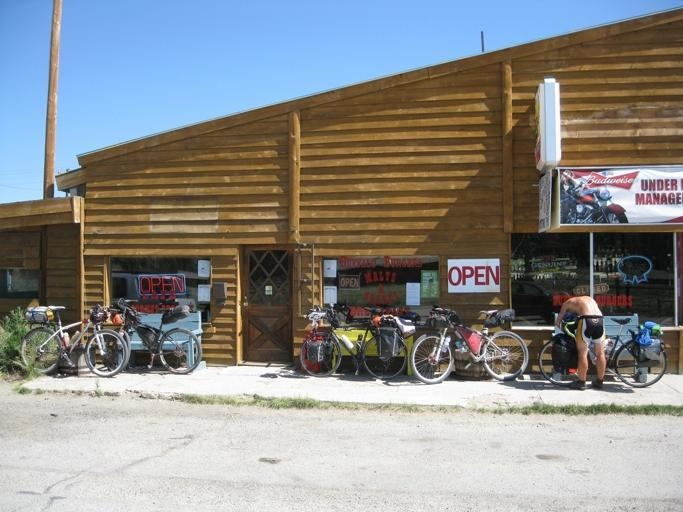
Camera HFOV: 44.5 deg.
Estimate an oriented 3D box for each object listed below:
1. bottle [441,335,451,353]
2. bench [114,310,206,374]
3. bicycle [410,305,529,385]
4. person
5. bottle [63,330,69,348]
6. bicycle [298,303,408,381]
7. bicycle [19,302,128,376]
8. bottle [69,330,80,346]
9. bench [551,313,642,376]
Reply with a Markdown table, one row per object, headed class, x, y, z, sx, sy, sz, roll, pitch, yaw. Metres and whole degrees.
| class | x | y | z | sx | sy | sz | roll | pitch | yaw |
| --- | --- | --- | --- | --- | --- | --- | --- | --- | --- |
| bottle | 1.938 | 1.643 | 15.447 | 0.135 | 0.275 | 0.182 | 0 | -4 | 7 |
| bench | -3.784 | 1.679 | 16.164 | 2.188 | 1.120 | 0.963 | 4 | -11 | -28 |
| bicycle | 2.370 | 1.675 | 15.560 | 2.133 | 1.410 | 0.815 | 0 | -4 | 4 |
| person | 4.259 | 1.549 | 14.776 | 0.760 | 1.635 | 0.460 | 0 | -5 | 12 |
| bottle | -5.270 | 1.623 | 16.021 | 0.117 | 0.281 | 0.167 | 2 | -5 | -16 |
| bicycle | 0.313 | 1.714 | 16.268 | 2.485 | 1.250 | 1.049 | 2 | -5 | 11 |
| bicycle | -5.188 | 1.643 | 16.174 | 1.923 | 1.359 | 1.301 | 1 | -4 | -11 |
| bottle | -5.130 | 1.587 | 16.040 | 0.150 | 0.231 | 0.299 | 4 | -5 | -33 |
| bench | 4.621 | 1.707 | 14.835 | 2.129 | 1.098 | 0.847 | -5 | -5 | 21 |
